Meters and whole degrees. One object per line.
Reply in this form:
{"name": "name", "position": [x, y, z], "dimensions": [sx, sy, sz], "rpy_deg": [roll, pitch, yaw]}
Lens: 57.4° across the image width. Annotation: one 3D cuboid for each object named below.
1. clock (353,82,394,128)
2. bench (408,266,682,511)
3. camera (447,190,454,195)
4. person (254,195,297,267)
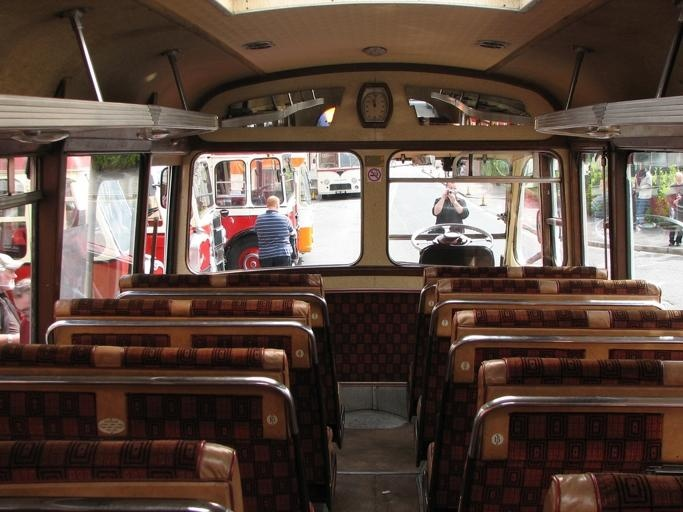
{"name": "clock", "position": [0.377, -1.628, 6.640], "dimensions": [0.412, 0.453, 0.117], "rpy_deg": [0, 13, 2]}
{"name": "bench", "position": [1.144, 1.129, 4.545], "dimensions": [2.076, 1.786, 1.476], "rpy_deg": [1, 11, -2]}
{"name": "camera", "position": [1.195, -0.709, 6.844], "dimensions": [0.061, 0.056, 0.021], "rpy_deg": [-1, -5, -2]}
{"name": "person", "position": [-0.795, -0.159, 7.443], "dimensions": [0.410, 1.099, 0.355], "rpy_deg": [1, 26, -1]}
